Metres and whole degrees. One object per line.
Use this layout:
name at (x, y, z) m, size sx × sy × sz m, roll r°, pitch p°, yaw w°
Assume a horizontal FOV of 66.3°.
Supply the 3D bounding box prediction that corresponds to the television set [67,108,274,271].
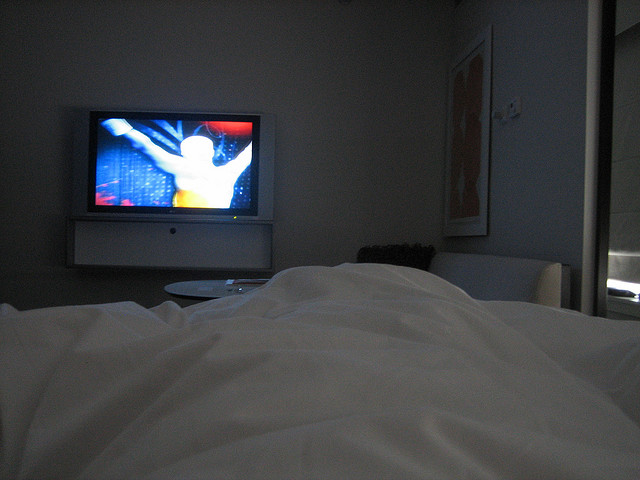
television set at (-1.120, -0.384, 3.640) m, size 1.091 × 0.997 × 0.405 m, roll 1°, pitch -2°, yaw -1°

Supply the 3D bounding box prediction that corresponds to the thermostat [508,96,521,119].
thermostat at (1.073, -0.738, 2.691) m, size 0.041 × 0.111 × 0.116 m, roll -1°, pitch 4°, yaw -2°
